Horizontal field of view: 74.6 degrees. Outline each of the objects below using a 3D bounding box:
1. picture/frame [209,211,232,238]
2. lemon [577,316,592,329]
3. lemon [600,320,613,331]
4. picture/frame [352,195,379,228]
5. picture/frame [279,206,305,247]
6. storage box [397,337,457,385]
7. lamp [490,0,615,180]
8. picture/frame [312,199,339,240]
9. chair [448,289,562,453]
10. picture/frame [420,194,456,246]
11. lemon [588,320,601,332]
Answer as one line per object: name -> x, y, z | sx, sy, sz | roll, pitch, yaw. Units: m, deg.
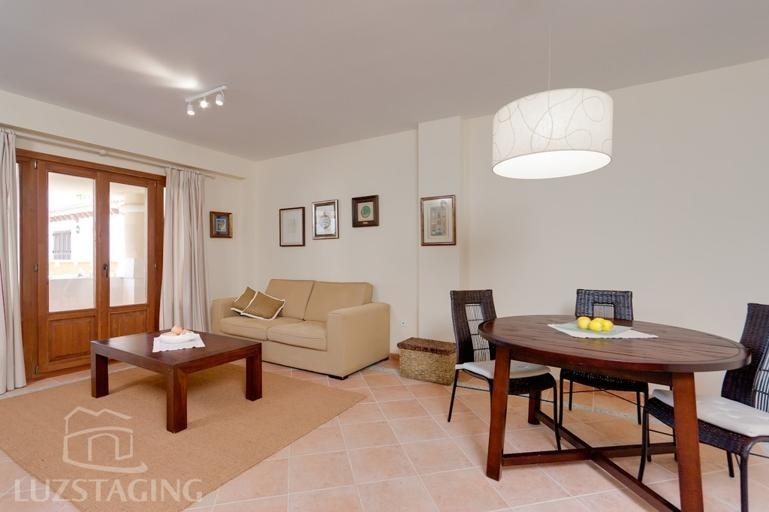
picture/frame -> -2.468, -0.470, 7.494 | 0.032, 0.424, 0.407 | -2, -5, 33
lemon -> 1.750, 0.559, 4.379 | 0.100, 0.078, 0.105 | 3, 16, 31
lemon -> 1.896, 0.587, 4.279 | 0.096, 0.076, 0.073 | 3, -4, -9
picture/frame -> -0.247, -0.608, 6.816 | 0.452, 0.451, 0.050 | -1, -1, 28
picture/frame -> -1.367, -0.436, 7.469 | 0.507, 0.586, 0.039 | 0, 2, 31
storage box -> 0.411, 1.313, 5.999 | 0.659, 0.391, 0.369 | 10, -28, -14
lamp -> 1.389, -1.447, 4.244 | 0.845, 1.494, 0.781 | -1, 2, -27
picture/frame -> -0.828, -0.525, 7.149 | 0.577, 0.663, 0.050 | 1, 0, 32
chair -> 1.085, 0.973, 4.814 | 0.720, 1.214, 0.849 | 1, 0, -25
picture/frame -> 0.682, -0.450, 6.220 | 0.641, 0.784, 0.057 | 0, 1, 32
lemon -> 1.799, 0.596, 4.282 | 0.077, 0.077, 0.101 | 1, -5, -38
